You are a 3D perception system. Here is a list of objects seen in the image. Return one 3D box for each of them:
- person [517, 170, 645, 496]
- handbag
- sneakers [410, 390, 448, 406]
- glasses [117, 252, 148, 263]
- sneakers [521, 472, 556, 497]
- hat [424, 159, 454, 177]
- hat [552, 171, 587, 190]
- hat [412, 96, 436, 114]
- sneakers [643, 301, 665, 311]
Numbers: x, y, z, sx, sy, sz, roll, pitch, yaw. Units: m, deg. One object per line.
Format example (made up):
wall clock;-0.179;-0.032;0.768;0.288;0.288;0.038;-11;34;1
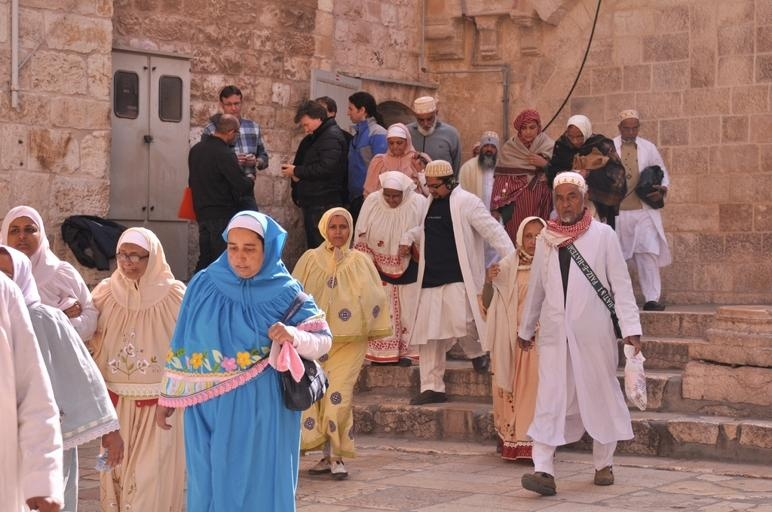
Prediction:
person;1.534;0.603;9.218;0.914;2.501;0.678;0;2;4
handbag;-0.528;0.802;7.483;0.326;0.426;0.191;-1;2;-13
sneakers;0.405;1.367;11.034;0.353;0.125;0.126;3;-5;-28
glasses;-1.833;0.013;8.484;0.115;0.037;0.117;2;-21;2
sneakers;1.190;1.773;9.019;0.272;0.184;0.167;0;2;3
hat;0.509;-0.823;11.083;0.196;0.112;0.192;-2;9;-6
hat;1.482;-0.646;9.370;0.198;0.119;0.202;15;-9;30
hat;0.433;-1.631;12.744;0.351;0.181;0.346;-3;19;0
sneakers;2.882;0.544;12.491;0.194;0.082;0.105;-3;0;27
